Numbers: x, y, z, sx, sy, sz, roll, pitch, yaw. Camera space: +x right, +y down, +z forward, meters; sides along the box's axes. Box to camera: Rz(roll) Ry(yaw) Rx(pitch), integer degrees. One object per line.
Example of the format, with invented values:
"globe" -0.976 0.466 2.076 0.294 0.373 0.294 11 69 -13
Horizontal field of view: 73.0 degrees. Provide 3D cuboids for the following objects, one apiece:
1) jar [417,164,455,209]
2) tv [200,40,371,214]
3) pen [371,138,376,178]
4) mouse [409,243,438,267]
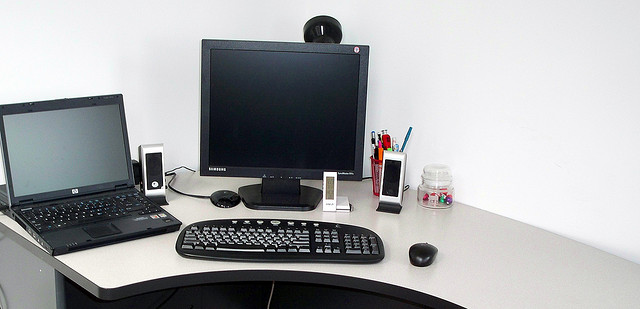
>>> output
"jar" 0.609 0.162 2.278 0.248 0.224 0.219 0 8 -1
"tv" -0.196 -0.163 2.254 1.051 0.802 0.331 4 8 -3
"pen" 0.292 0.018 2.367 0.030 0.223 0.027 4 0 7
"mouse" 0.453 0.440 1.962 0.143 0.053 0.178 7 11 14
